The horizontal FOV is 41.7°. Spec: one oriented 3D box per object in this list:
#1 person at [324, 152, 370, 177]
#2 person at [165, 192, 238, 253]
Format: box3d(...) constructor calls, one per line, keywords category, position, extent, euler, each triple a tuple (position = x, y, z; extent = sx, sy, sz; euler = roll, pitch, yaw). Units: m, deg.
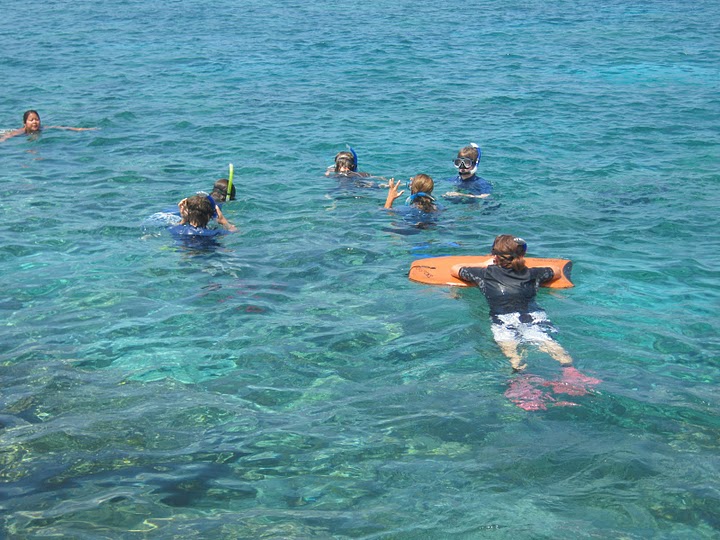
box3d(category="person", position=(-0.282, -2.020, 18.007), extent=(0.798, 0.232, 0.721), euler=(1, 8, -7))
box3d(category="person", position=(-2.641, -0.792, 15.430), extent=(1.561, 0.491, 0.874), euler=(-1, 61, 0))
